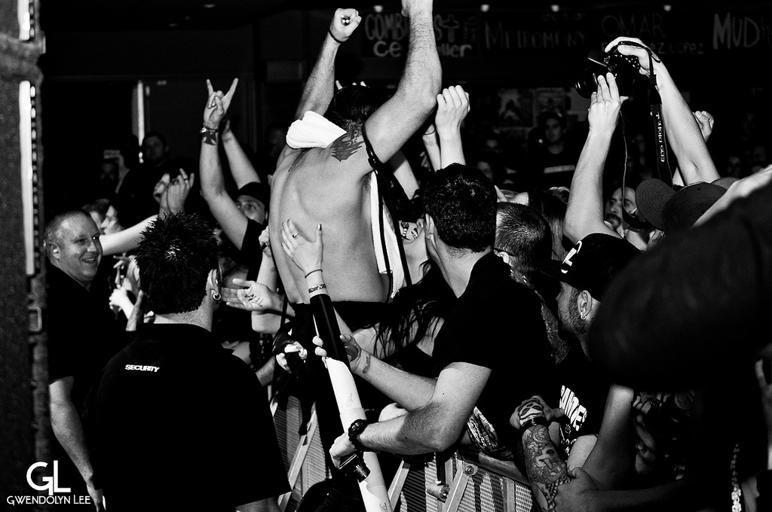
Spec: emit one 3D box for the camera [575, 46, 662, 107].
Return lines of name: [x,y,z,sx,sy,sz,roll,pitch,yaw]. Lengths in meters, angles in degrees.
camera: [1.299,-0.955,4.177,0.349,0.200,0.358,16,-26,22]
